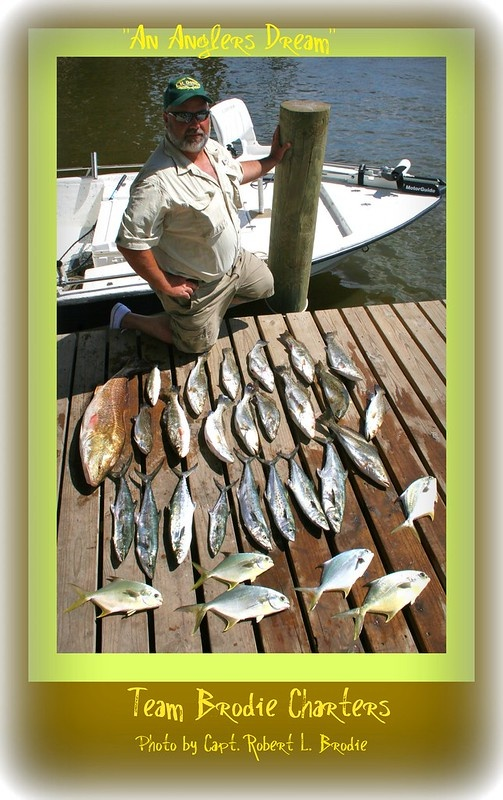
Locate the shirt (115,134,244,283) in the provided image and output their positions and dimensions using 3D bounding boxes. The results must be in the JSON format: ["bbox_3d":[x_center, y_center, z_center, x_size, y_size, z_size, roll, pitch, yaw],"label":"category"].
[{"bbox_3d":[-0.347,-0.887,2.638,0.652,0.707,0.286,-6,33,-19],"label":"shirt"}]

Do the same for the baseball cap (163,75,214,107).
[{"bbox_3d":[-0.313,-1.462,2.519,0.243,0.132,0.253,-18,42,-34],"label":"baseball cap"}]

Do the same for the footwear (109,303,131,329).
[{"bbox_3d":[-0.856,-0.535,3.446,0.096,0.236,0.090,12,45,-31],"label":"footwear"}]

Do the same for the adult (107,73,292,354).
[{"bbox_3d":[-0.244,-0.998,2.943,0.594,1.361,1.101,31,47,32],"label":"adult"}]

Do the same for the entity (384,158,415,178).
[{"bbox_3d":[1.785,-2.762,6.291,0.155,0.215,0.636,2,29,28],"label":"entity"}]
